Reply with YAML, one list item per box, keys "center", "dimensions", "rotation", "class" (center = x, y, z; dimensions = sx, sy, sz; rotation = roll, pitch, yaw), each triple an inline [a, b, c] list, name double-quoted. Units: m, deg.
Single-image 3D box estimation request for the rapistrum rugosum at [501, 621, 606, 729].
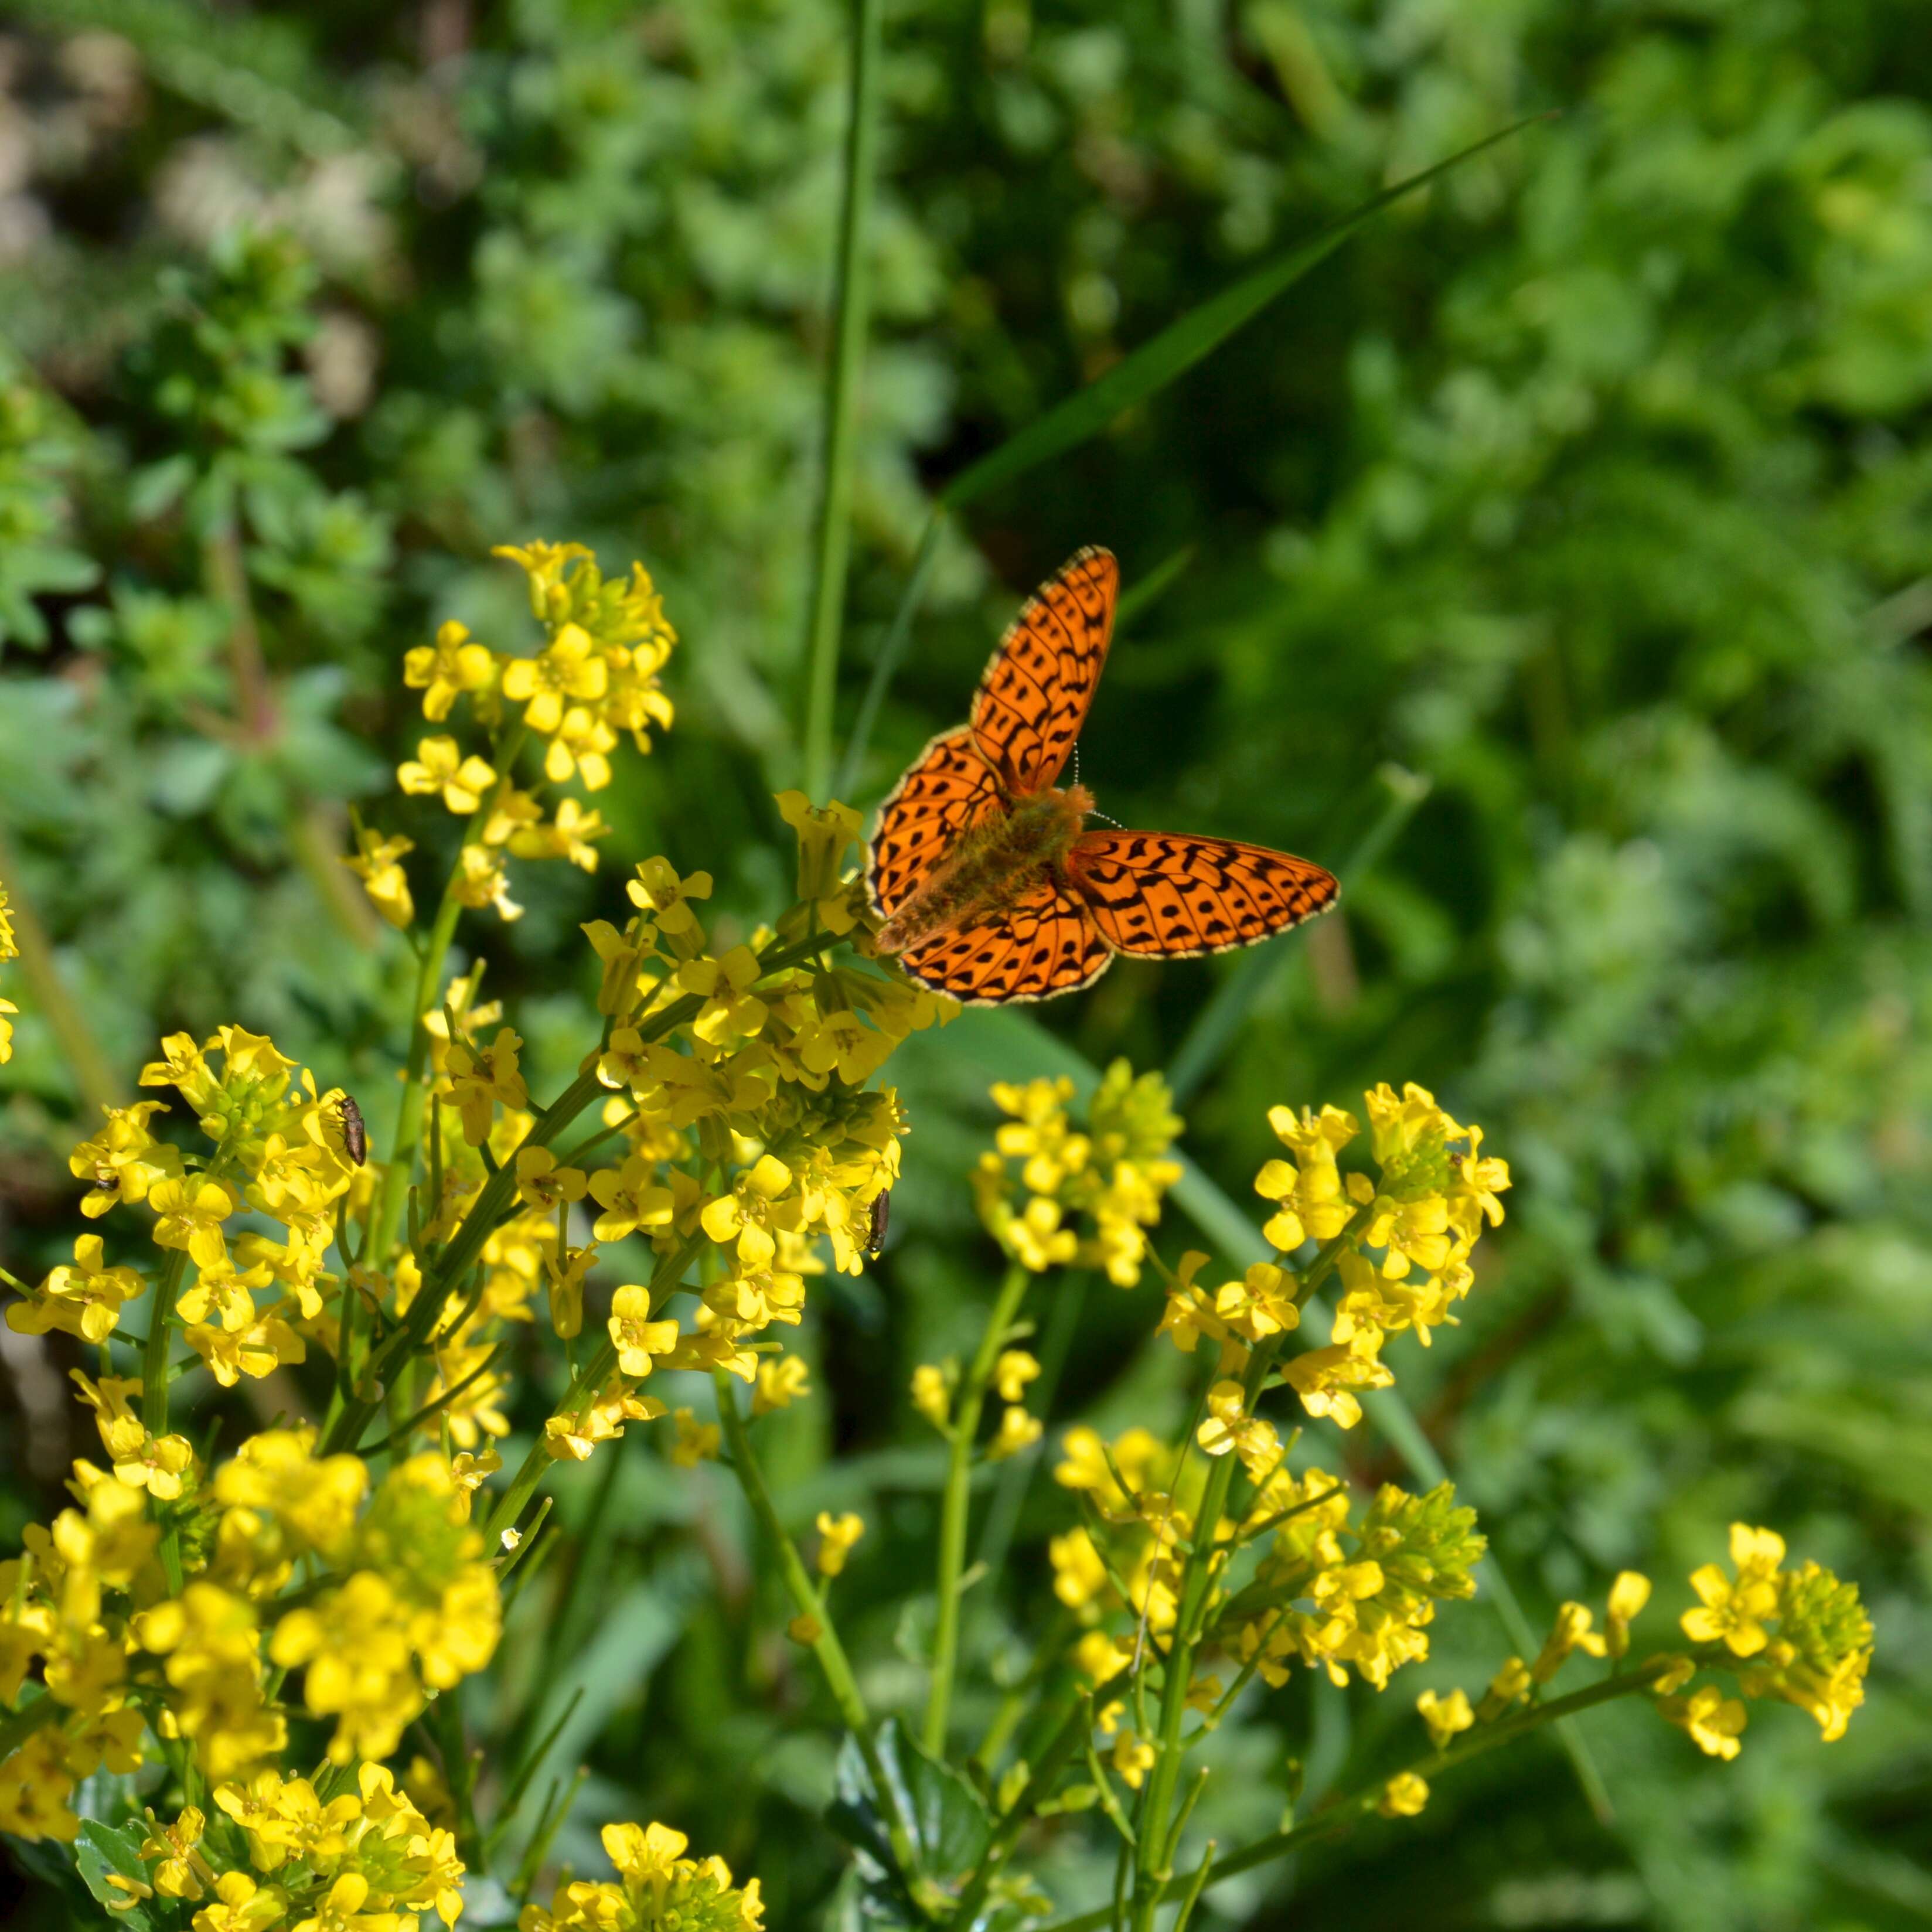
- center: [-0.312, -0.215, 1.948]
  dimensions: [0.055, 0.067, 0.077]
  rotation: [31, 51, 12]
  class: "rapistrum rugosum"
